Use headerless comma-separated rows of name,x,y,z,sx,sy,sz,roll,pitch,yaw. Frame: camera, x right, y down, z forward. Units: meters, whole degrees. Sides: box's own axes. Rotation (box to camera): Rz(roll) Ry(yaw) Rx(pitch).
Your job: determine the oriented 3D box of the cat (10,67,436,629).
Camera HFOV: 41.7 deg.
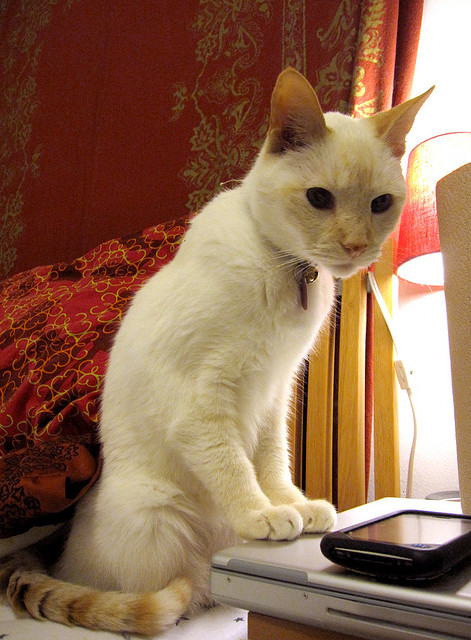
cat,0.014,0.033,1.031,0.623,0.844,0.308,0,-11,-12
